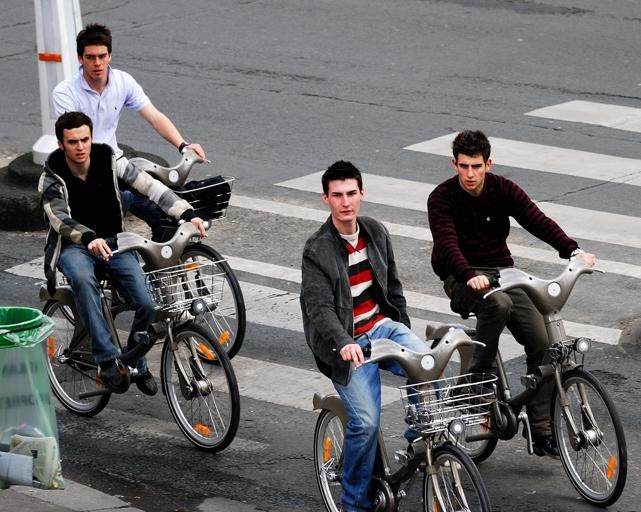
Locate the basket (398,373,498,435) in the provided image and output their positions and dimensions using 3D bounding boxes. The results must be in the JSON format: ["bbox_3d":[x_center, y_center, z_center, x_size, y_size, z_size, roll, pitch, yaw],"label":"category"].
[{"bbox_3d":[0.713,0.887,5.285,0.457,0.293,0.655,-5,2,-13],"label":"basket"}]

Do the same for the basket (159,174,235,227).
[{"bbox_3d":[-1.051,-0.506,7.866,0.621,0.348,0.245,-7,15,-35],"label":"basket"}]

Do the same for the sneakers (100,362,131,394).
[{"bbox_3d":[-1.502,0.897,6.680,0.131,0.142,0.351,-39,12,-26],"label":"sneakers"}]

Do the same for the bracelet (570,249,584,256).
[{"bbox_3d":[1.716,-0.028,6.049,0.074,0.033,0.090,-7,6,4],"label":"bracelet"}]

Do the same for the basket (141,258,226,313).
[{"bbox_3d":[-1.054,0.240,6.987,0.377,0.255,0.556,-27,-19,7],"label":"basket"}]
